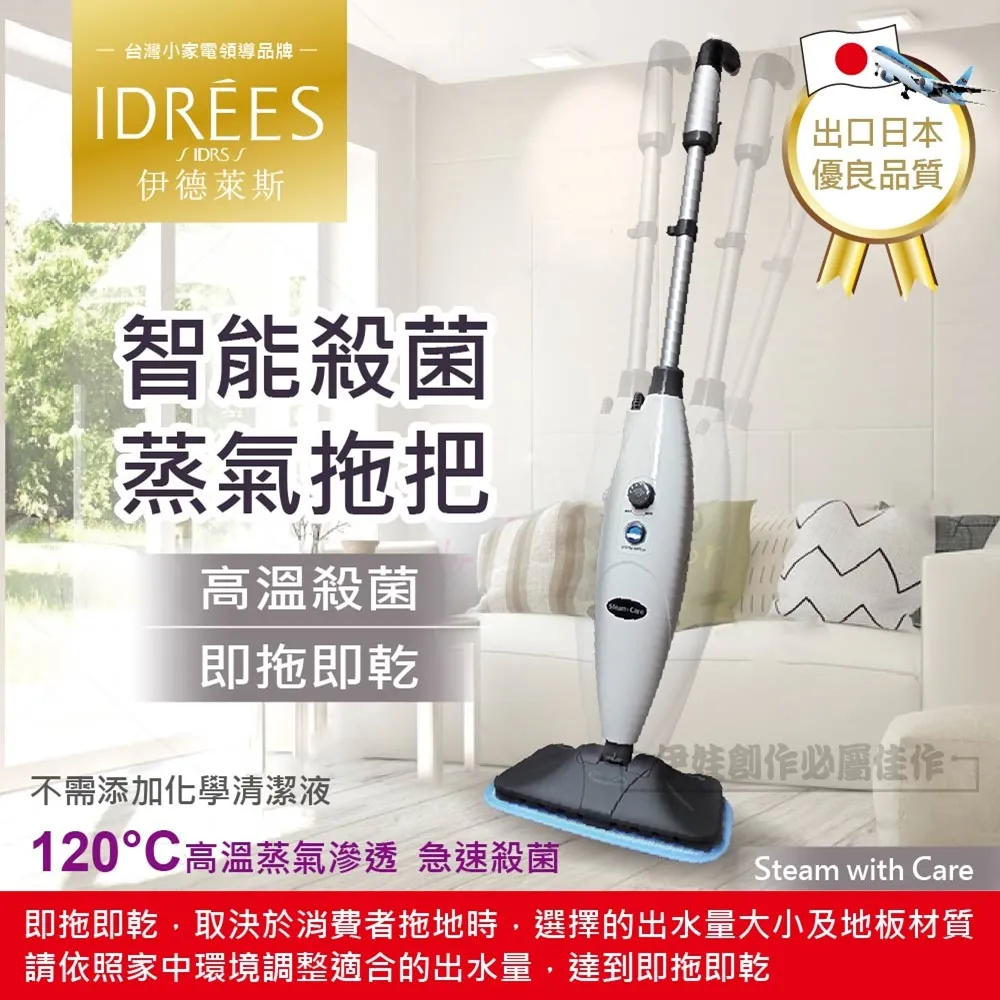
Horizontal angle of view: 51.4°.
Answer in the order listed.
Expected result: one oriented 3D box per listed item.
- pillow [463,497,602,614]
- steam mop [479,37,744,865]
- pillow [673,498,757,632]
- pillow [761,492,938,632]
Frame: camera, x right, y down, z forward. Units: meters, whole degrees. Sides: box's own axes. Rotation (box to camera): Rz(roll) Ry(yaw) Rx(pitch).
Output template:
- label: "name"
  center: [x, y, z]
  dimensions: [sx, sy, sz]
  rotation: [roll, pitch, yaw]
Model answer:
- label: "pillow"
  center: [0.050, 0.106, 1.598]
  dimensions: [0.222, 0.163, 0.087]
  rotation: [-10, -35, 37]
- label: "steam mop"
  center: [0.184, -0.085, 1.480]
  dimensions: [0.349, 1.150, 0.164]
  rotation: [3, 5, 9]
- label: "pillow"
  center: [0.313, 0.088, 1.531]
  dimensions: [0.181, 0.206, 0.077]
  rotation: [1, 18, 12]
- label: "pillow"
  center: [0.522, 0.090, 1.514]
  dimensions: [0.209, 0.196, 0.091]
  rotation: [11, 8, 2]
